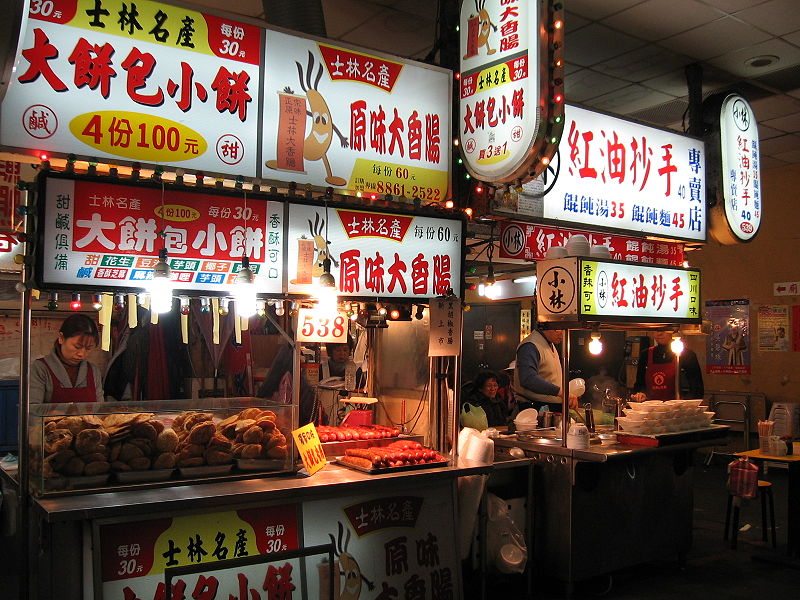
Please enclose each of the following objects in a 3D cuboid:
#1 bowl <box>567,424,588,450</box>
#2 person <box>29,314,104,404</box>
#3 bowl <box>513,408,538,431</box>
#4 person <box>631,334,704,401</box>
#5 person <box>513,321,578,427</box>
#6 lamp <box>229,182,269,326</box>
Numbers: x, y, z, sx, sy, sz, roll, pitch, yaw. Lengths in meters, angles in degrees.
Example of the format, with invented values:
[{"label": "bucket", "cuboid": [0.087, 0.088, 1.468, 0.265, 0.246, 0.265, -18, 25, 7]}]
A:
[{"label": "bowl", "cuboid": [1.500, 1.137, 5.956, 0.176, 0.197, 0.213, -1, -4, 16]}, {"label": "person", "cuboid": [-2.986, 0.535, 6.508, 0.544, 0.794, 0.661, -4, -5, 45]}, {"label": "bowl", "cuboid": [1.200, 1.111, 6.655, 0.211, 0.196, 0.267, -1, -4, 10]}, {"label": "person", "cuboid": [3.606, 0.906, 9.443, 0.935, 1.011, 0.562, -8, -22, 38]}, {"label": "person", "cuboid": [1.395, 0.692, 7.128, 0.478, 0.833, 0.534, -1, -4, 10]}, {"label": "lamp", "cuboid": [-1.087, -0.266, 5.047, 0.198, 0.984, 0.719, 1, -4, -12]}]
